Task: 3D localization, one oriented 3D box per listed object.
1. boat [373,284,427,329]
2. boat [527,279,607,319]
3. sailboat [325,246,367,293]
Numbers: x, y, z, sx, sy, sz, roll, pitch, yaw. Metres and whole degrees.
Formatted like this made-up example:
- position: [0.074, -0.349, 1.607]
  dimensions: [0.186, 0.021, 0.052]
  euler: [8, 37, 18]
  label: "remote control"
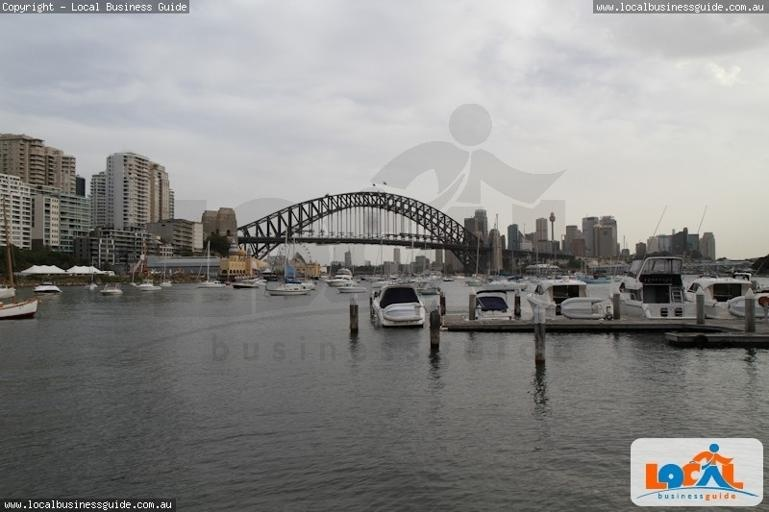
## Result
- position: [0.945, 3.708, 52.591]
  dimensions: [2.981, 3.024, 5.785]
  euler: [-2, 9, -8]
  label: "boat"
- position: [12.890, 3.243, 51.481]
  dimensions: [3.114, 2.612, 6.953]
  euler: [-4, 10, -17]
  label: "boat"
- position: [-8.287, 4.880, 152.814]
  dimensions: [6.804, 10.967, 22.316]
  euler: [2, 5, 0]
  label: "sailboat"
